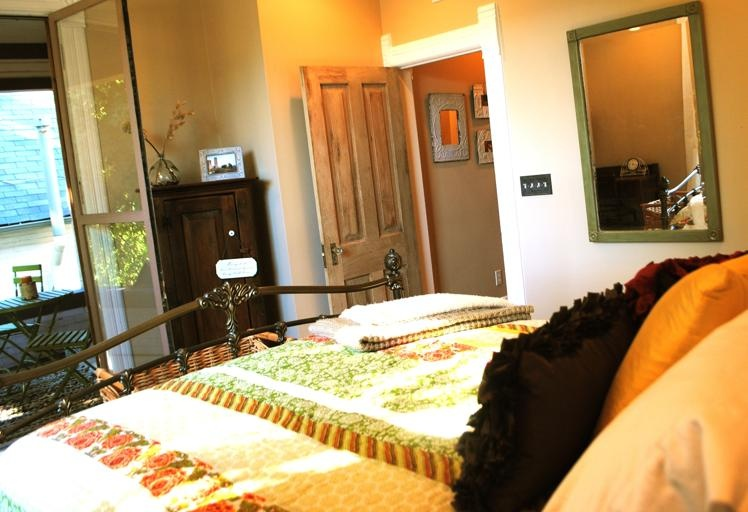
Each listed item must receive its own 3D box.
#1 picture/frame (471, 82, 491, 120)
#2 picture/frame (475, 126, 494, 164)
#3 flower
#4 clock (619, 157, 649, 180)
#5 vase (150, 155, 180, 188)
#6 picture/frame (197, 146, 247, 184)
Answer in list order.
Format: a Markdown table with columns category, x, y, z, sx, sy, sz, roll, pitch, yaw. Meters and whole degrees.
| category | x | y | z | sx | sy | sz | roll | pitch | yaw |
| --- | --- | --- | --- | --- | --- | --- | --- | --- | --- |
| picture/frame | 1.055 | -1.548 | 5.461 | 0.075 | 0.364 | 0.268 | 2 | 10 | 41 |
| picture/frame | 1.101 | -1.108 | 5.438 | 0.087 | 0.380 | 0.257 | 1 | 10 | 36 |
| flower | -1.549 | -0.859 | 4.144 | 0.268 | 0.627 | 0.511 | -1 | 8 | 22 |
| clock | 1.701 | -0.575 | 3.537 | 0.058 | 0.127 | 0.165 | -2 | 2 | -35 |
| vase | -1.571 | -0.618 | 4.050 | 0.237 | 0.219 | 0.235 | -3 | 6 | 15 |
| picture/frame | -1.136 | -0.683 | 4.096 | 0.360 | 0.291 | 0.033 | -4 | -3 | -15 |
